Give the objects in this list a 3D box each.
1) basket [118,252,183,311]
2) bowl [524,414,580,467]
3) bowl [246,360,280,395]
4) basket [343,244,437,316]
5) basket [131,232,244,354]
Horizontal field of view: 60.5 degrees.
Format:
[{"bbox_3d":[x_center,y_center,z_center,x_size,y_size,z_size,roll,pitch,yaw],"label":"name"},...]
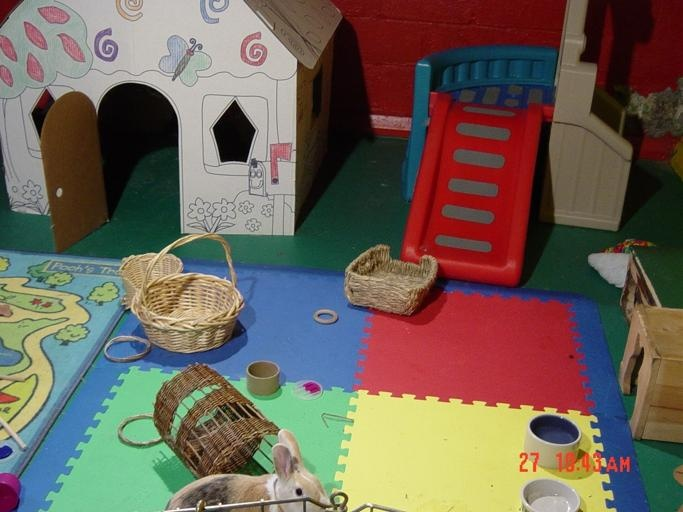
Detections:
[{"bbox_3d":[-1.367,0.226,4.088,0.335,0.232,0.441,6,20,11],"label":"basket"},{"bbox_3d":[1.111,0.985,3.089,0.250,0.164,0.262,0,33,0],"label":"bowl"},{"bbox_3d":[-0.462,0.711,3.426,0.206,0.153,0.185,-4,25,-14],"label":"bowl"},{"bbox_3d":[0.284,0.172,4.191,0.460,0.201,0.624,11,32,0],"label":"basket"},{"bbox_3d":[-0.959,0.169,3.677,0.668,0.696,0.569,-3,27,-27],"label":"basket"}]
